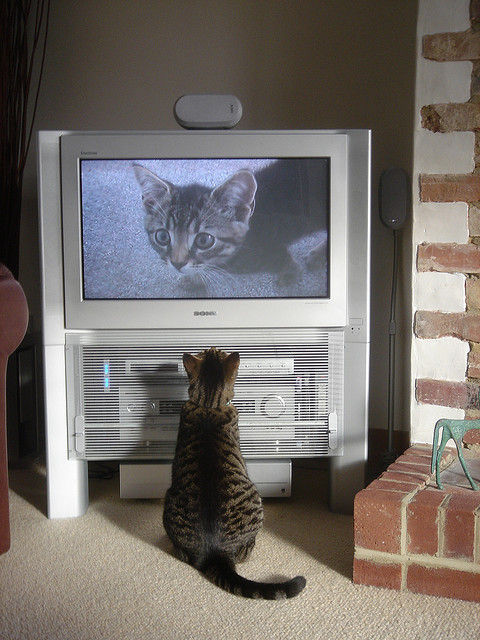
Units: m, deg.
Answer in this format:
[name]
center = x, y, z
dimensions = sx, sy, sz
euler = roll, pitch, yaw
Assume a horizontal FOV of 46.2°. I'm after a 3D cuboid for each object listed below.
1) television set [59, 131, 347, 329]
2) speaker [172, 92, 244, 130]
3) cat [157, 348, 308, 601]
[television set]
center = -0.108, -0.241, 1.570
dimensions = 0.892, 0.667, 0.481
euler = 0, 2, -1
[speaker]
center = -0.095, -0.606, 1.628
dimensions = 0.174, 0.107, 0.048
euler = -1, -3, 3
[cat]
center = -0.038, 0.340, 1.307
dimensions = 0.250, 0.522, 0.402
euler = -1, 2, -18
